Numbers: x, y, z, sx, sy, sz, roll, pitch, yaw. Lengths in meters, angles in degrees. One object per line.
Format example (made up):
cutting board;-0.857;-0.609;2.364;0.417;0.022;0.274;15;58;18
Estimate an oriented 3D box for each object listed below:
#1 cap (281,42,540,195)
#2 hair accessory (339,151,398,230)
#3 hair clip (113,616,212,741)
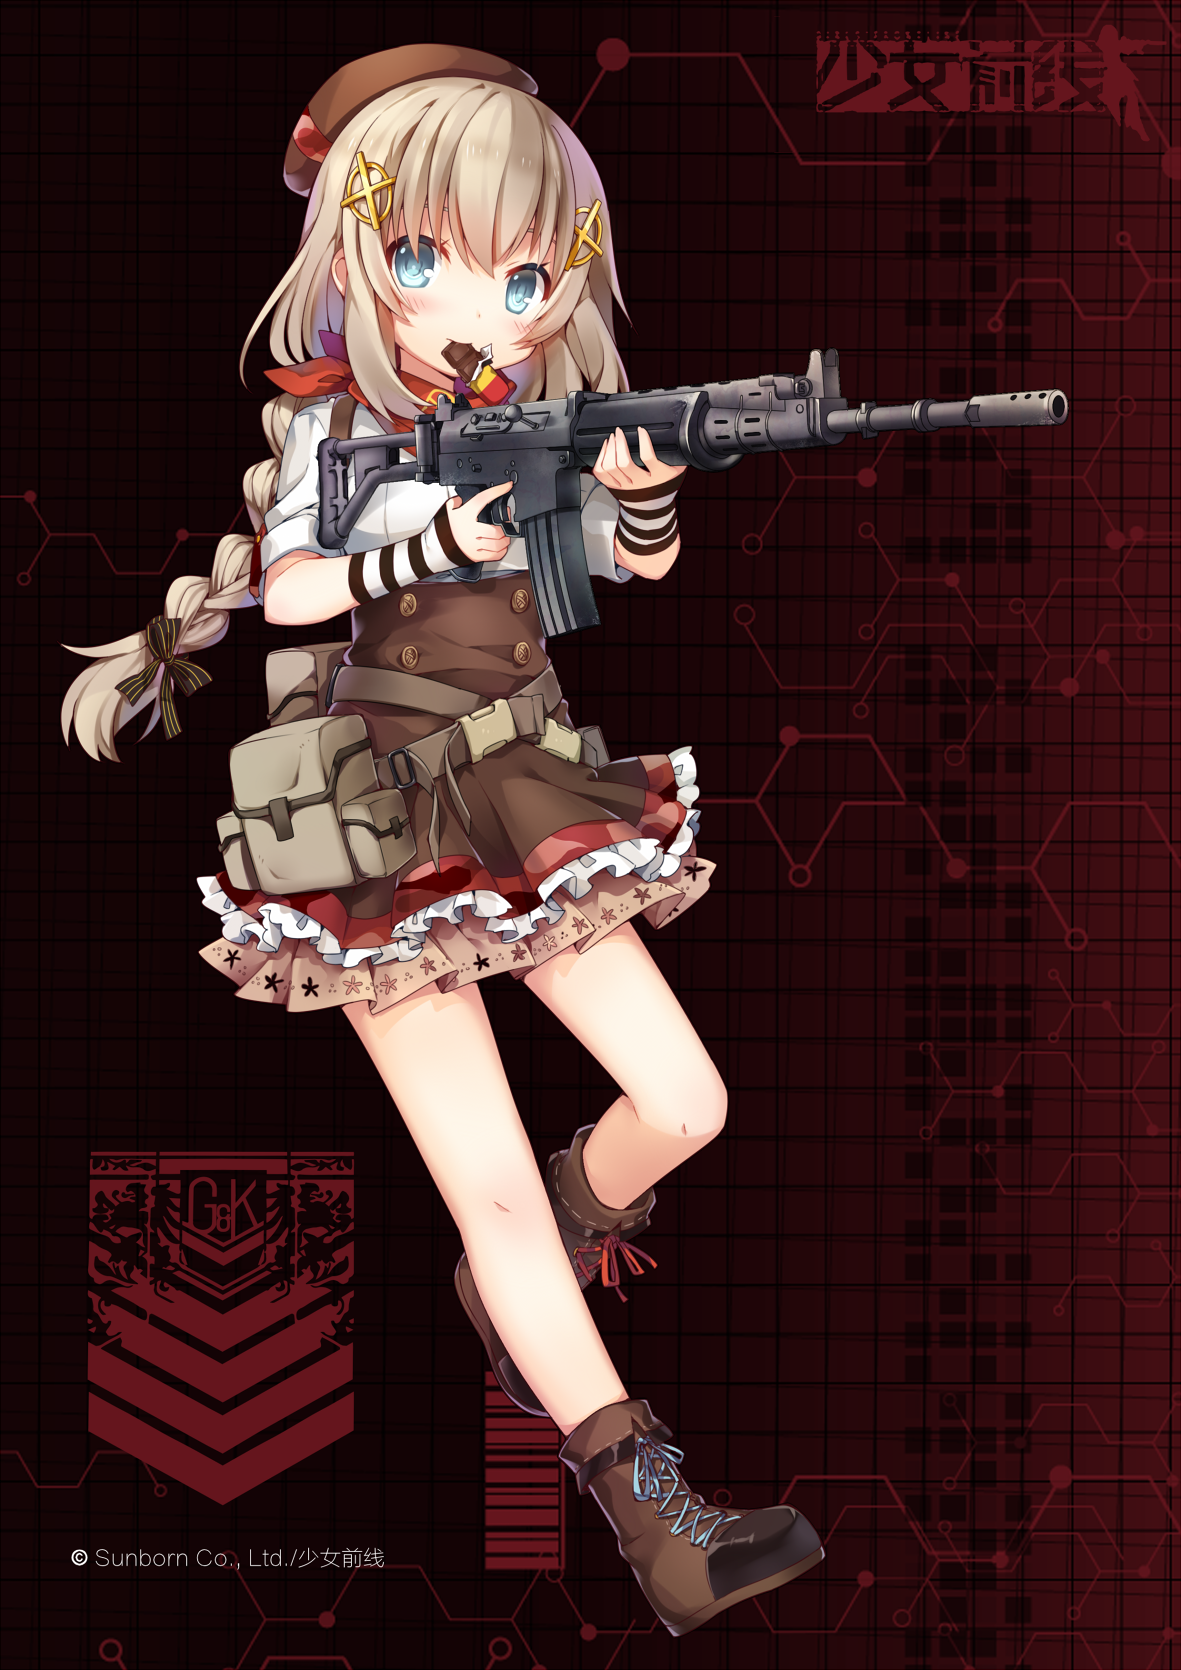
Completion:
cap;-0.278;-1.082;2.432;0.397;0.202;0.257;-4;23;-4
hair accessory;-0.317;-0.922;2.306;0.041;0.103;0.081;-22;30;-36
hair clip;-0.706;-0.257;2.682;0.163;0.191;0.147;7;21;33
